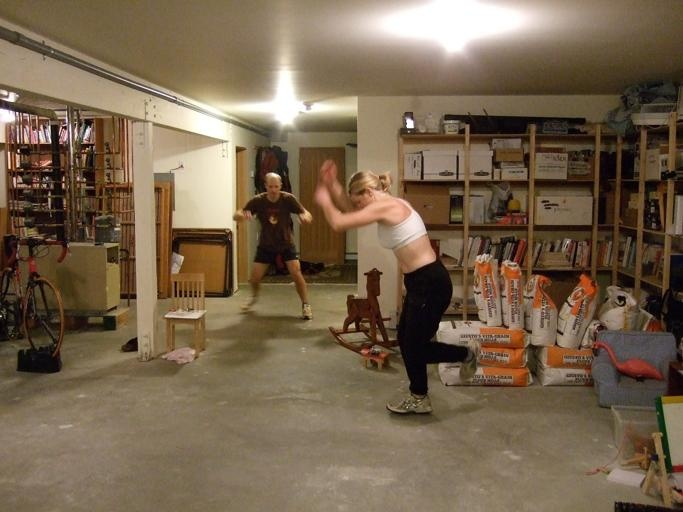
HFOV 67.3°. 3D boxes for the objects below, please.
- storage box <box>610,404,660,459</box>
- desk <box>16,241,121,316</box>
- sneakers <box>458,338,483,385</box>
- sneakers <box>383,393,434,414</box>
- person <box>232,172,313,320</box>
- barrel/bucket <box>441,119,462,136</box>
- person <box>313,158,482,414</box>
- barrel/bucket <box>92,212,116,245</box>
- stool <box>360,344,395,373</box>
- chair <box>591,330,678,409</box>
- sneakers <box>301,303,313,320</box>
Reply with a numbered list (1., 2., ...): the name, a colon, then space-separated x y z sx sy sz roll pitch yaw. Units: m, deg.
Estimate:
1. storage box: 1.967 1.171 3.455 0.262 0.336 0.381 5 10 29
2. desk: -3.366 0.194 6.754 1.438 1.226 0.788 0 7 1
3. sneakers: 1.055 0.868 4.179 0.108 0.306 0.241 5 2 17
4. sneakers: 0.544 1.183 4.144 0.414 0.206 0.152 2 3 6
5. person: -0.873 -0.128 6.911 0.957 1.957 1.559 -2 9 -8
6. barrel/bucket: 1.337 -1.547 6.192 0.191 0.145 0.193 0 9 0
7. person: 0.482 0.265 4.028 1.134 1.988 0.944 3 9 19
8. barrel/bucket: -3.027 -0.333 6.612 0.270 0.328 0.455 -5 10 -25
9. stool: 0.371 1.033 5.152 0.201 0.115 0.216 5 14 21
10. chair: 2.365 0.904 4.374 0.773 0.714 0.595 0 1 15
11. sneakers: -0.458 0.761 6.915 0.198 0.260 0.598 -1 -2 -6
